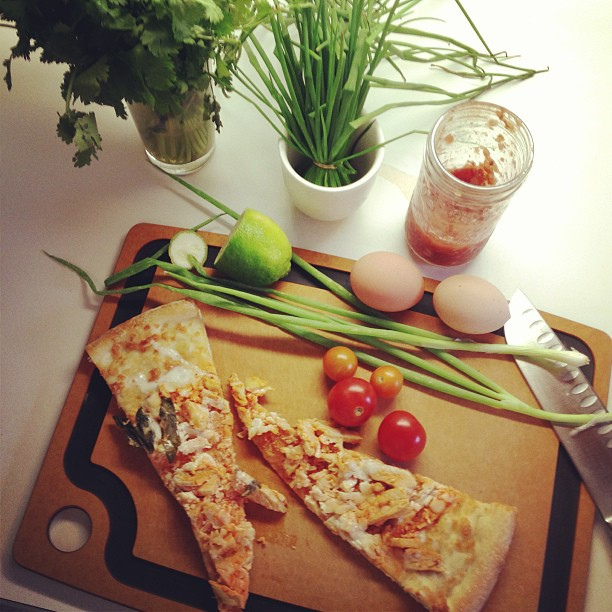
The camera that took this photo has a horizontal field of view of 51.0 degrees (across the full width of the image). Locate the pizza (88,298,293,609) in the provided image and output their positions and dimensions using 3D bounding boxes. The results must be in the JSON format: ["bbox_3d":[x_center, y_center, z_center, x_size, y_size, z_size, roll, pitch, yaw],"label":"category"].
[{"bbox_3d":[-0.276,0.359,1.618,0.409,0.119,0.788,-25,75,-9],"label":"pizza"}]

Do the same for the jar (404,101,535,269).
[{"bbox_3d":[0.392,-0.284,1.660,0.273,0.395,0.227,1,63,-3],"label":"jar"}]

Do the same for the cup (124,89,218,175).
[{"bbox_3d":[-0.349,-0.489,1.761,0.205,0.350,0.203,1,57,-1],"label":"cup"}]

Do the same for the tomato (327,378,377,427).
[{"bbox_3d":[0.113,0.239,1.629,0.139,0.113,0.107,-11,91,-8],"label":"tomato"}]

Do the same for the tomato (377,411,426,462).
[{"bbox_3d":[0.229,0.320,1.615,0.135,0.116,0.115,6,33,3],"label":"tomato"}]

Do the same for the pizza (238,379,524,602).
[{"bbox_3d":[0.126,0.476,1.572,0.722,0.181,0.266,23,57,15],"label":"pizza"}]
